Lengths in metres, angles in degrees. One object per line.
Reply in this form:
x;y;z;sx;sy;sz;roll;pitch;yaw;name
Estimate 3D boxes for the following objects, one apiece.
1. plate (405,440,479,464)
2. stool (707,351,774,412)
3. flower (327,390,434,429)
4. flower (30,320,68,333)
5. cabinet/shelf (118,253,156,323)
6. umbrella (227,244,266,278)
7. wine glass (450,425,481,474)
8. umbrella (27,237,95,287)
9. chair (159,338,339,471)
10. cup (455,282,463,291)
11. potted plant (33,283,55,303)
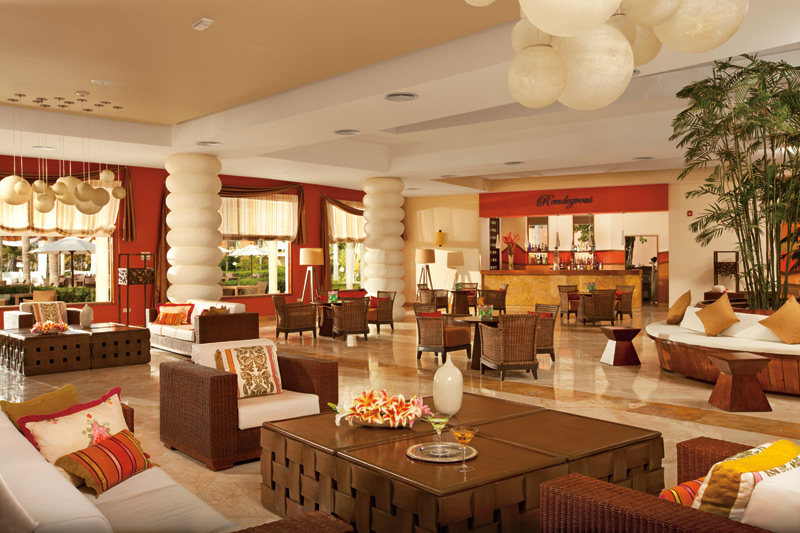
0.248;1.126;3.225;0.255;0.010;0.245;0;-1;29;plate
3.973;1.365;6.327;0.685;0.576;0.753;2;-3;-43;stool
-0.116;0.989;3.755;0.591;0.168;0.538;-3;10;-31;flower
-5.801;1.011;8.724;0.356;0.129;0.347;-2;-3;32;flower
-5.696;0.521;11.496;0.834;1.604;3.078;-1;-1;-28;cabinet/shelf
-4.499;-0.141;15.881;1.009;0.727;0.974;-6;8;-36;umbrella
0.343;1.019;2.975;0.201;0.207;0.188;-18;-33;26;wine glass
-7.916;-0.091;12.631;1.425;0.798;1.222;-1;-3;3;umbrella
-1.514;1.267;4.987;1.275;0.795;1.239;1;-2;-45;chair
1.758;0.647;16.410;0.227;0.271;0.292;3;-4;-45;cup
-7.534;0.581;11.221;0.371;0.385;0.394;-1;4;-37;potted plant
